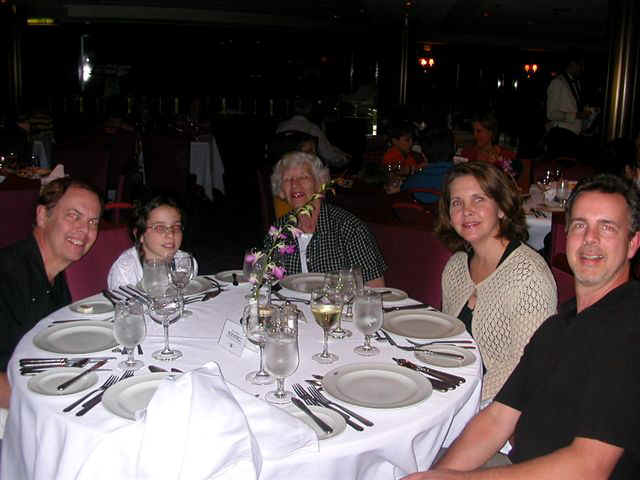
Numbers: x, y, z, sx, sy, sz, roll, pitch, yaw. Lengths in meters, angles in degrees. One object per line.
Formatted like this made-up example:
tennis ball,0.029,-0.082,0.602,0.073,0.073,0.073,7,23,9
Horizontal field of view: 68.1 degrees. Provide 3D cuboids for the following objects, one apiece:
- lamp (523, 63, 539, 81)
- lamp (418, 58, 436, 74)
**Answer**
lamp,6.656,-5.365,15.074,0.459,0.448,0.422,0,2,14
lamp,3.382,-5.638,15.268,0.437,0.436,0.309,1,-3,1
